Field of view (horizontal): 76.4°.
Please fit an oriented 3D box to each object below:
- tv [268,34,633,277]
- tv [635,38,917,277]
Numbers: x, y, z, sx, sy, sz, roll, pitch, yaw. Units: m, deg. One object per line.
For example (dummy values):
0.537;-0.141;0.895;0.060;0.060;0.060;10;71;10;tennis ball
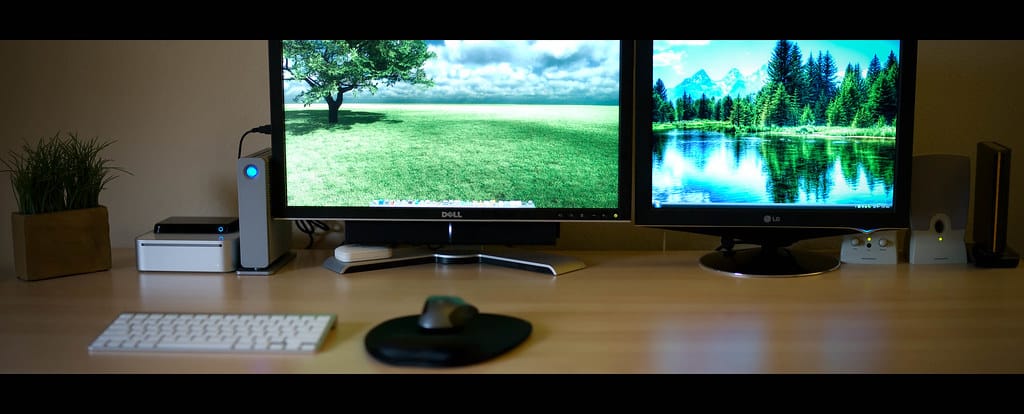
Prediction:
-0.266;-0.256;2.762;1.703;0.738;0.391;0;2;0;tv
1.114;-0.256;2.845;1.656;0.986;0.453;-3;5;-26;tv
